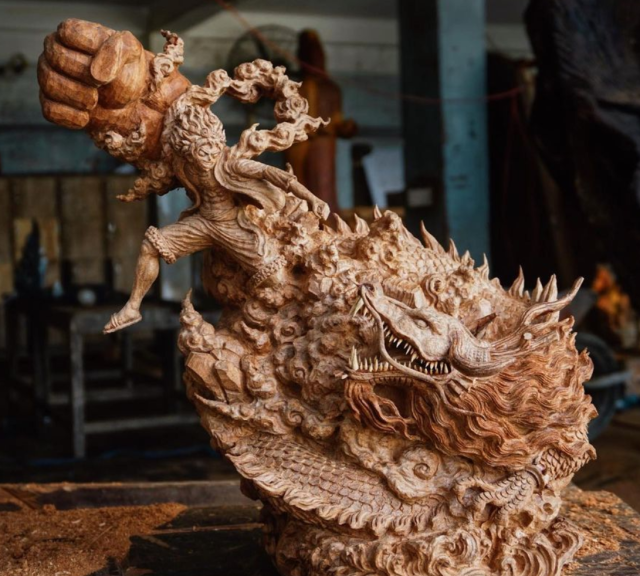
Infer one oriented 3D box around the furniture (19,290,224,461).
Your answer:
[{"bbox_3d":[-1.160,0.557,8.111,1.072,1.037,0.939,-2,0,-30],"label":"furniture"}]
